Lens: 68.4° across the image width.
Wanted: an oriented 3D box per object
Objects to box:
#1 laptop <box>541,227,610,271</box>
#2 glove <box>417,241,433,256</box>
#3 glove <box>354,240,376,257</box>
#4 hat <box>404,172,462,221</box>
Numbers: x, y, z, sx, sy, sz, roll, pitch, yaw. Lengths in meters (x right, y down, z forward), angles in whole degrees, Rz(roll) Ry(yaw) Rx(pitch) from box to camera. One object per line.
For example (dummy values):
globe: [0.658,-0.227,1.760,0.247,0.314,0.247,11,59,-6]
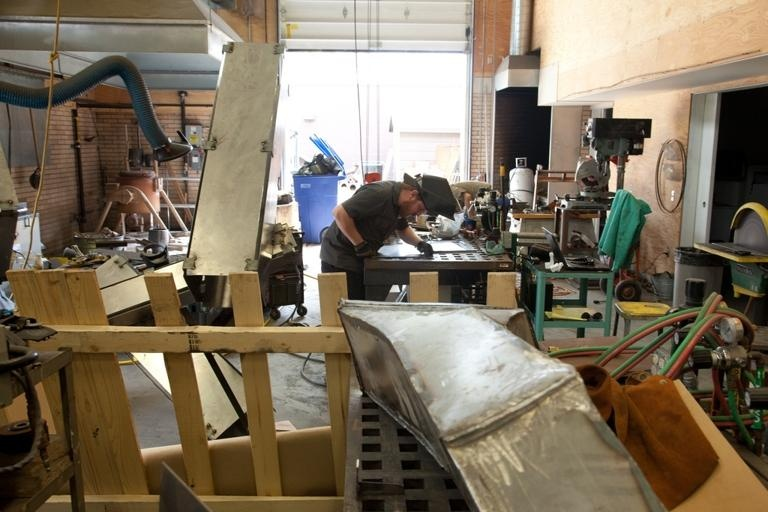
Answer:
laptop: [2.130,-0.072,6.306,0.425,0.239,0.539,-2,9,2]
glove: [0.371,-0.058,4.906,0.130,0.104,0.207,-6,11,-25]
glove: [-0.148,-0.066,4.923,0.126,0.138,0.254,4,11,27]
hat: [0.418,-0.543,5.071,0.462,0.396,0.347,-13,21,-4]
